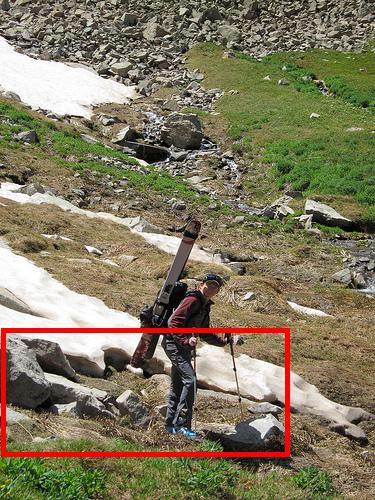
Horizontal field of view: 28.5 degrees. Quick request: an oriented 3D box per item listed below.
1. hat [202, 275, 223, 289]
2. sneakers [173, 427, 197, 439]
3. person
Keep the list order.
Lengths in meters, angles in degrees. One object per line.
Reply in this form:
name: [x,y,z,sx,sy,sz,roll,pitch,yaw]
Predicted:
hat: [0.531,0.658,15.957,0.409,0.108,0.279,12,-14,35]
sneakers: [-0.053,3.814,15.549,0.573,0.184,0.176,13,1,5]
person: [-0.029,2.165,15.892,1.139,3.334,1.467,14,13,1]
